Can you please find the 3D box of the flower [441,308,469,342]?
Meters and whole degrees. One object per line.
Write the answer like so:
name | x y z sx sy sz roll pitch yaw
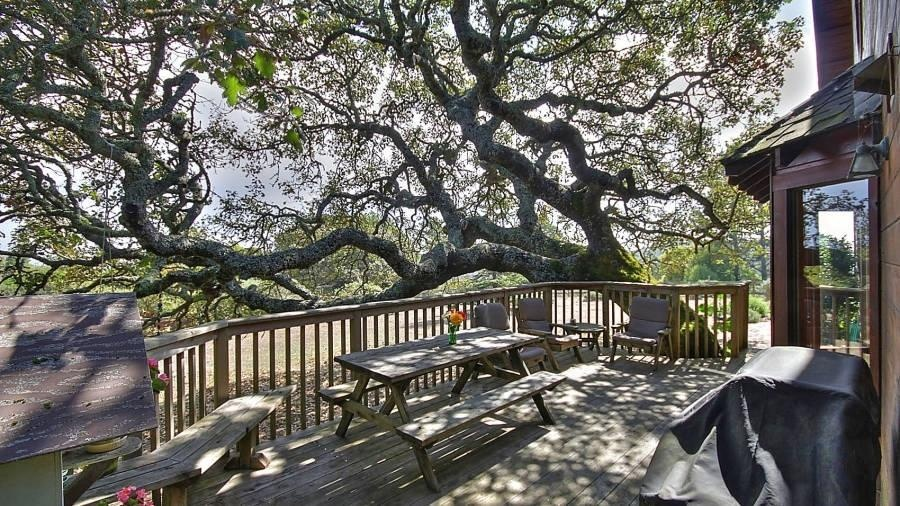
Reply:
flower | 0.018 1.172 8.014 0.489 0.472 0.463 -1 -10 -24

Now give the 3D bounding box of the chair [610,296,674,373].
chair | 3.653 1.482 9.628 0.952 1.066 1.152 6 8 42

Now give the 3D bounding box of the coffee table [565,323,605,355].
coffee table | 2.662 1.707 10.191 0.804 0.454 0.806 0 4 24
